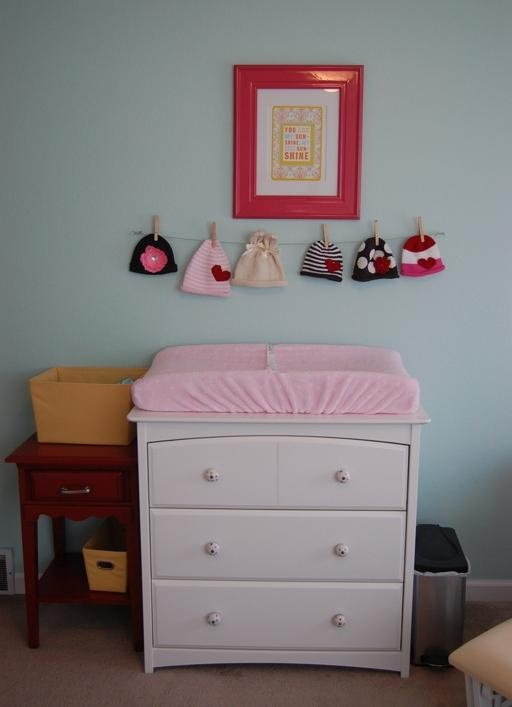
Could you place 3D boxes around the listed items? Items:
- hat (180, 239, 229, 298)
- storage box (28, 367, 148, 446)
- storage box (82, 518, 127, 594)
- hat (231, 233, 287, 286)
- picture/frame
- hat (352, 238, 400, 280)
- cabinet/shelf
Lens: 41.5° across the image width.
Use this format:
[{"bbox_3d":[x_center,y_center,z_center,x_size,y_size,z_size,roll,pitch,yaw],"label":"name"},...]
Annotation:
[{"bbox_3d":[-0.171,-0.294,2.333,0.164,0.190,0.053,0,15,-3],"label":"hat"},{"bbox_3d":[-0.547,0.169,2.231,0.362,0.200,0.244,0,4,0],"label":"storage box"},{"bbox_3d":[-0.495,0.685,2.290,0.153,0.122,0.235,-1,-5,-2],"label":"storage box"},{"bbox_3d":[0.013,-0.323,2.318,0.193,0.176,0.061,-1,2,-2],"label":"hat"},{"bbox_3d":[0.138,-0.734,2.267,0.544,0.542,0.040,0,11,2],"label":"picture/frame"},{"bbox_3d":[0.408,-0.325,2.318,0.155,0.150,0.070,3,15,8],"label":"hat"},{"bbox_3d":[-0.587,0.603,2.271,0.384,0.675,0.471,-2,15,-11],"label":"cabinet/shelf"}]
